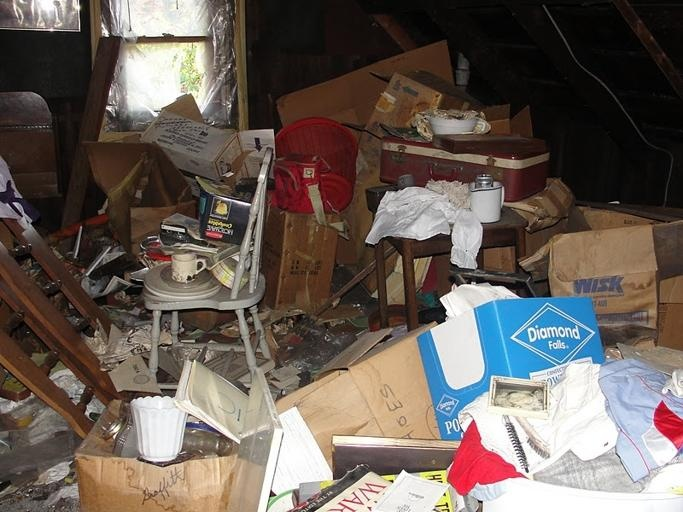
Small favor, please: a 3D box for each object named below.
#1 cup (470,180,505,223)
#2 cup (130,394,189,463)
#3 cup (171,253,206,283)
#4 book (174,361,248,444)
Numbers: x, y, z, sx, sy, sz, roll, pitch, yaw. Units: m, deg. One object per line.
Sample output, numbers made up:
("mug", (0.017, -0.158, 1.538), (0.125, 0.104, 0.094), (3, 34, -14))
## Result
("cup", (0.660, -0.238, 2.276), (0.180, 0.155, 0.147), (-3, 13, -7))
("cup", (-0.577, 0.543, 1.666), (0.197, 0.176, 0.197), (0, 1, 0))
("cup", (-0.667, 0.048, 2.158), (0.150, 0.095, 0.094), (4, 12, -28))
("book", (-0.424, 0.472, 1.691), (0.187, 0.255, 0.254), (-3, 22, -5))
